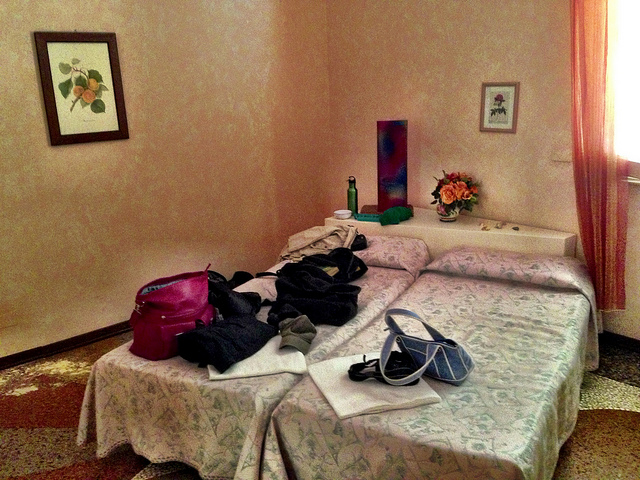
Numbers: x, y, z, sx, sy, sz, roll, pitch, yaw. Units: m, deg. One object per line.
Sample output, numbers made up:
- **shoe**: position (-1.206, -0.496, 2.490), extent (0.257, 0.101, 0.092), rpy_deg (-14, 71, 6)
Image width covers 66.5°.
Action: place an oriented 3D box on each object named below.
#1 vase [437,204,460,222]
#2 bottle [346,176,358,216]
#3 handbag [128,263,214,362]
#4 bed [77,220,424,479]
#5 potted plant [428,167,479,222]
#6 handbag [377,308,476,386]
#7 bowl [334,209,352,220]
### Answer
- **vase**: position (0.989, -0.213, 3.752), extent (0.144, 0.107, 0.128), rpy_deg (3, 12, 16)
- **bottle**: position (0.282, -0.382, 4.224), extent (0.082, 0.313, 0.207), rpy_deg (0, 17, 4)
- **handbag**: position (-0.788, 0.408, 2.707), extent (0.326, 0.382, 0.567), rpy_deg (5, 9, 22)
- **bed**: position (-0.139, 0.493, 2.946), extent (1.084, 0.469, 1.811), rpy_deg (15, 30, 29)
- **potted plant**: position (1.046, -0.380, 3.905), extent (0.417, 0.390, 0.408), rpy_deg (-8, 12, -38)
- **handbag**: position (0.479, 0.492, 2.343), extent (0.440, 0.397, 0.261), rpy_deg (4, 39, 49)
- **bowl**: position (0.196, -0.222, 4.174), extent (0.151, 0.061, 0.139), rpy_deg (-1, 16, 0)
